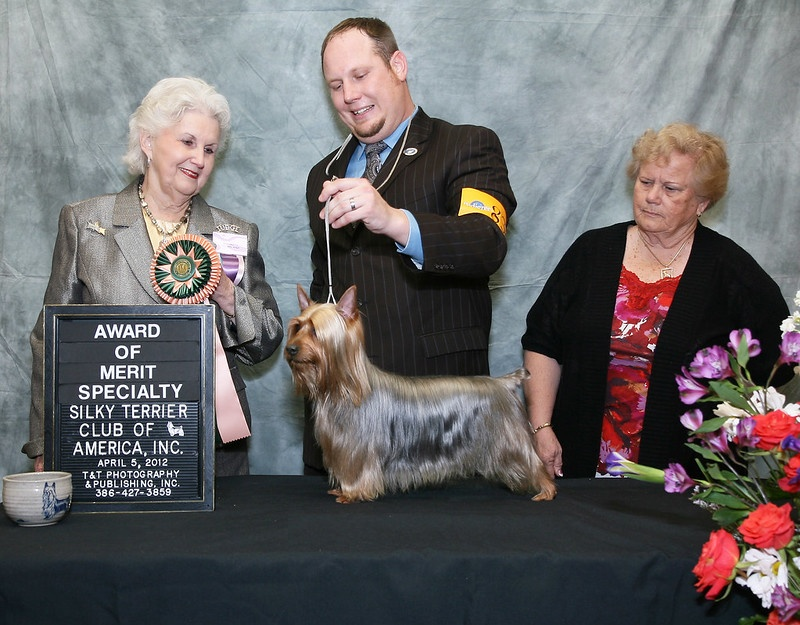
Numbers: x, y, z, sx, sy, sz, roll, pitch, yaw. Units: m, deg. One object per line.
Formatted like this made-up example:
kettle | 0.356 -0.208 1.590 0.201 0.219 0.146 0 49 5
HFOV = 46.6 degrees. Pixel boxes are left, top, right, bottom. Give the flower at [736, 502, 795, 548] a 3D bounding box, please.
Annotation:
flower | 1.031 0.591 2.559 0.168 0.119 0.084 0 1 -17

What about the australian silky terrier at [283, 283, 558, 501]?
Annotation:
australian silky terrier | 0.059 0.317 3.362 1.085 0.706 0.386 6 1 -22

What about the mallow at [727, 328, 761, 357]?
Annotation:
mallow | 1.052 0.093 2.828 0.079 0.086 0.237 1 1 19

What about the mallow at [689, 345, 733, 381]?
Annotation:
mallow | 0.927 0.150 2.769 0.124 0.099 0.072 1 1 26

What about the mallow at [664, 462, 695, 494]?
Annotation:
mallow | 0.850 0.498 2.806 0.086 0.104 0.264 1 1 17

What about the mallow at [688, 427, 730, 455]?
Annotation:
mallow | 0.934 0.377 2.771 0.094 0.094 0.036 46 15 20

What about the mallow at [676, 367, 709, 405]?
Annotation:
mallow | 0.886 0.233 2.808 0.072 0.106 0.110 -18 -47 22

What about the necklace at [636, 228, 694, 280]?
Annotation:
necklace | 1.192 -0.260 4.113 0.252 0.276 0.049 0 -7 6

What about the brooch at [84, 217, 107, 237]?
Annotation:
brooch | -1.201 -0.335 3.674 0.074 0.061 0.031 1 1 13

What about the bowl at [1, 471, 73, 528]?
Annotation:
bowl | -1.155 0.586 2.944 0.193 0.126 0.169 -2 -9 1

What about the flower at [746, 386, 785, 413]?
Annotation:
flower | 1.081 0.252 2.707 0.083 0.045 0.079 -1 -1 2

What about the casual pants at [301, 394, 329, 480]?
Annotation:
casual pants | -0.373 0.496 4.037 0.078 0.318 0.095 2 -2 14

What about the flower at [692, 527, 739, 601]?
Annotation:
flower | 0.883 0.703 2.612 0.095 0.183 0.187 13 -14 0

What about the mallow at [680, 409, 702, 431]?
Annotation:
mallow | 0.873 0.323 2.759 0.058 0.069 0.181 1 1 18

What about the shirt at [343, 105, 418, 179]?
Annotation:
shirt | -0.111 -0.700 4.048 0.273 0.128 0.358 -18 -14 -9

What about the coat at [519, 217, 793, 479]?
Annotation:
coat | 1.096 0.184 4.203 1.217 1.094 0.658 8 4 22

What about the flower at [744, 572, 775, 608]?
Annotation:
flower | 0.991 0.765 2.552 0.090 0.091 0.039 1 1 19
